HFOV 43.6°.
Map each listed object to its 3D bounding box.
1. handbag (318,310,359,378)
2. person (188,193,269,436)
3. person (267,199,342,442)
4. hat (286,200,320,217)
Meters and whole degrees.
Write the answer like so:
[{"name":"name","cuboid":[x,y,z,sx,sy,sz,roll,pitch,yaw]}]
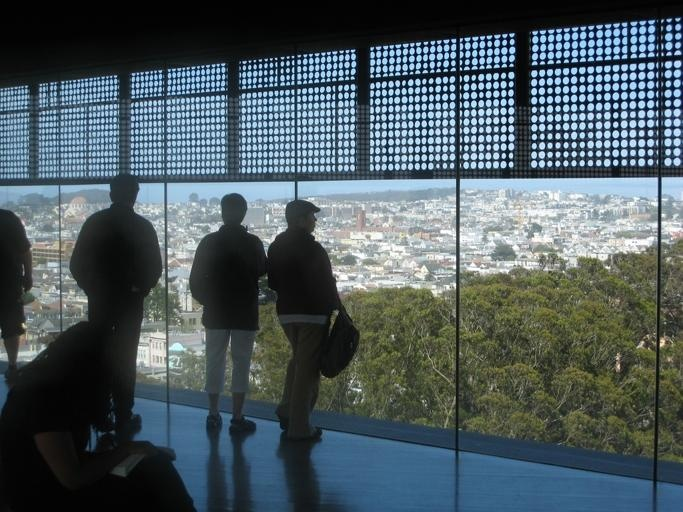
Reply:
[{"name":"handbag","cuboid":[-0.069,0.684,6.983,0.302,0.584,0.534,8,12,10]},{"name":"person","cuboid":[-0.967,0.467,7.040,0.624,1.469,0.262,4,2,-7]},{"name":"person","cuboid":[-0.336,0.512,6.951,0.627,1.523,0.301,4,2,3]},{"name":"hat","cuboid":[-0.322,-0.400,6.918,0.176,0.092,0.132,-13,8,-16]}]
